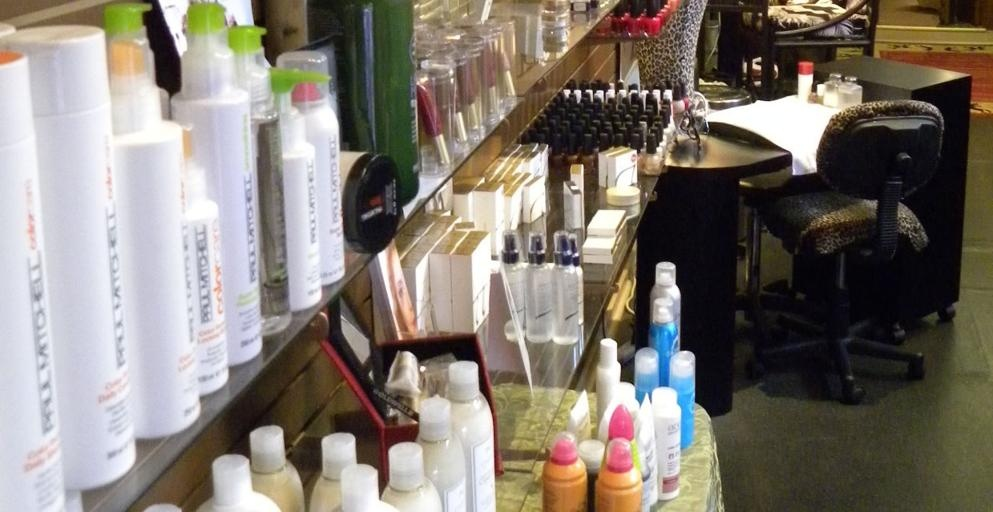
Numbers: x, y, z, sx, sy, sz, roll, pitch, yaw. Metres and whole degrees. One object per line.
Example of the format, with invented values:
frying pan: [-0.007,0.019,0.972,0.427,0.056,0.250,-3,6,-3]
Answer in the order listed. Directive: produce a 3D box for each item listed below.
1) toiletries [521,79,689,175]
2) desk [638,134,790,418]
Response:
toiletries: [0.455,-0.572,3.179,0.490,0.162,0.741,8,31,20]
desk: [0.967,-0.048,4.150,1.160,1.380,1.214,3,16,13]
